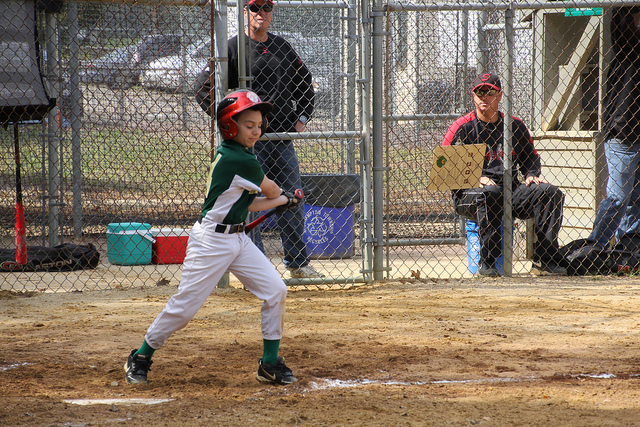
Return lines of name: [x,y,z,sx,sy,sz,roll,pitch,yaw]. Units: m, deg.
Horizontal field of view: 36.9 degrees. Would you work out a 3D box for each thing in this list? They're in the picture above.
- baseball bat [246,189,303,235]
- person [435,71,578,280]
baseball bat: [-0.451,-0.031,9.580,0.120,0.707,0.127,48,2,-47]
person: [2.159,-0.440,11.153,1.506,2.368,0.594,1,4,-6]
